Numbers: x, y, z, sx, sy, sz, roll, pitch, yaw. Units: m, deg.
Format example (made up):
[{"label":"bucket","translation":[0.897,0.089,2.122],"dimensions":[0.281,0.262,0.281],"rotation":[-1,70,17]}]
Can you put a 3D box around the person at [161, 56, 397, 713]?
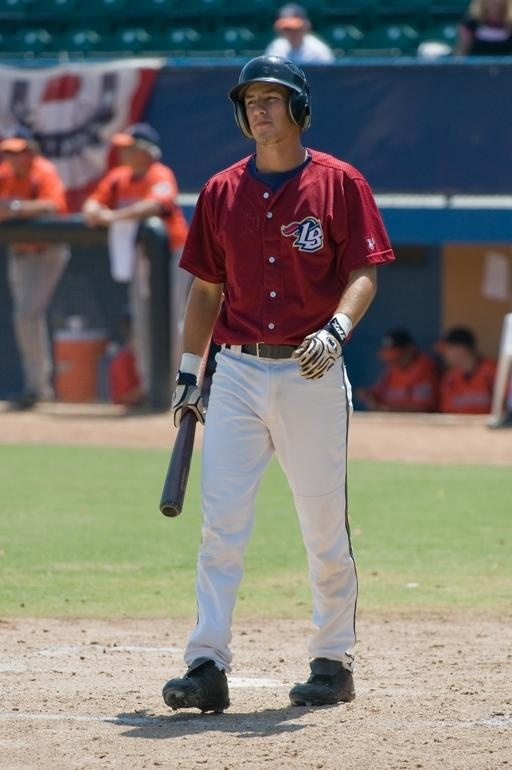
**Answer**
[{"label":"person","translation":[0.005,-0.004,3.751],"dimensions":[0.618,1.794,0.569],"rotation":[5,7,22]}]

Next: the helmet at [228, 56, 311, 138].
[{"label":"helmet","translation":[0.040,-0.802,3.853],"dimensions":[0.221,0.176,0.254],"rotation":[-7,-18,21]}]

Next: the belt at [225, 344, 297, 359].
[{"label":"belt","translation":[0.003,-0.090,3.771],"dimensions":[0.210,0.043,0.064],"rotation":[5,6,32]}]

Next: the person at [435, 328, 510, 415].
[{"label":"person","translation":[1.077,-0.058,7.016],"dimensions":[0.308,0.360,1.233],"rotation":[3,5,9]}]

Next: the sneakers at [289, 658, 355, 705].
[{"label":"sneakers","translation":[0.193,0.837,3.751],"dimensions":[0.094,0.088,0.207],"rotation":[-5,-9,38]}]

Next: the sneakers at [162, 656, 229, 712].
[{"label":"sneakers","translation":[-0.151,0.803,3.597],"dimensions":[0.092,0.112,0.231],"rotation":[-12,-30,27]}]

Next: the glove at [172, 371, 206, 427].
[{"label":"glove","translation":[-0.197,0.053,3.884],"dimensions":[0.075,0.170,0.095],"rotation":[-1,-10,-5]}]

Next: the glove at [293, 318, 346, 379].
[{"label":"glove","translation":[0.170,-0.086,3.594],"dimensions":[0.116,0.157,0.067],"rotation":[23,-11,-2]}]

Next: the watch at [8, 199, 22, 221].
[{"label":"watch","translation":[-1.084,-0.787,6.112],"dimensions":[0.032,0.069,0.055],"rotation":[8,11,25]}]

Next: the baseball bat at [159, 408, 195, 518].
[{"label":"baseball bat","translation":[-0.211,0.208,3.786],"dimensions":[0.069,0.372,0.057],"rotation":[15,-44,-6]}]
